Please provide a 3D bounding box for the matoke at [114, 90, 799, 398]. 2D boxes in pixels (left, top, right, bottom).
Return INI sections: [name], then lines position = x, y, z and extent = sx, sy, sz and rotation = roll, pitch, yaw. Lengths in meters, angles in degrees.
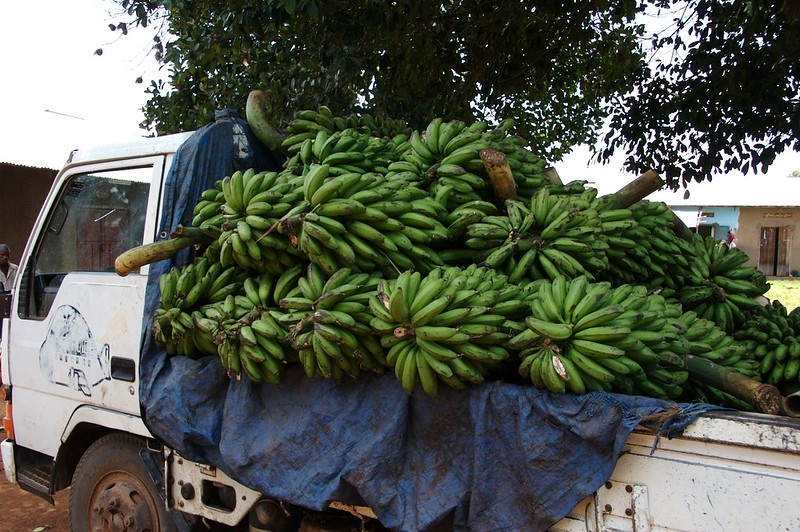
[matoke]
position = 0.429, 0.020, 4.425
extent = 4.530, 1.999, 2.398
rotation = 0, 0, 4
